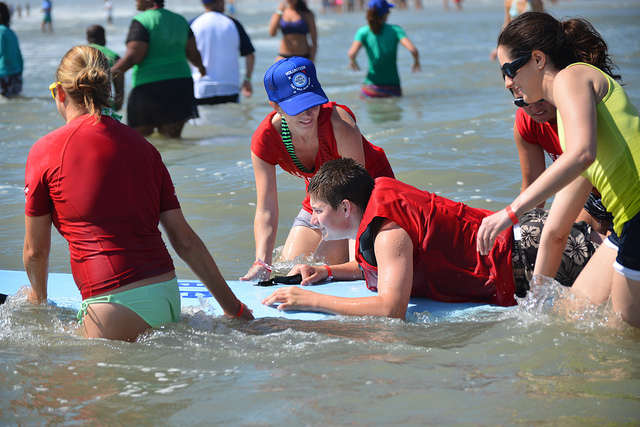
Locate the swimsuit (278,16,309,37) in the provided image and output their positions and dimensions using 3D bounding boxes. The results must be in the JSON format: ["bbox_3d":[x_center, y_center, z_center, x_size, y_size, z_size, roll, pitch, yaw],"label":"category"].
[{"bbox_3d":[-0.431,-2.882,11.789,0.518,0.374,0.261,-2,1,1],"label":"swimsuit"}]

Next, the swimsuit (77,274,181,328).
[{"bbox_3d":[-1.194,0.580,5.004,0.414,0.211,0.430,0,5,7],"label":"swimsuit"}]

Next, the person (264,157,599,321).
[{"bbox_3d":[1.024,0.167,5.696,2.585,1.030,1.335,-2,2,10],"label":"person"}]

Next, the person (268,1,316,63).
[{"bbox_3d":[-0.431,-2.843,11.823,0.693,0.898,0.518,-5,10,0],"label":"person"}]

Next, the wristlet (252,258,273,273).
[{"bbox_3d":[-0.444,0.420,6.163,0.102,0.046,0.132,5,-23,19],"label":"wristlet"}]

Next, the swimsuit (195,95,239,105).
[{"bbox_3d":[-1.382,-1.531,10.271,0.278,0.098,0.709,3,12,40],"label":"swimsuit"}]

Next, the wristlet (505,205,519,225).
[{"bbox_3d":[1.222,0.013,4.875,0.041,0.101,0.088,-29,19,-9],"label":"wristlet"}]

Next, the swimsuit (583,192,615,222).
[{"bbox_3d":[2.067,-0.051,5.597,0.123,0.139,0.183,-30,-19,-29],"label":"swimsuit"}]

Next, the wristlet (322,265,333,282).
[{"bbox_3d":[0.070,0.485,6.066,0.067,0.105,0.111,-11,-30,6],"label":"wristlet"}]

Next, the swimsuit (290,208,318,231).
[{"bbox_3d":[-0.155,0.053,6.777,0.177,0.158,0.379,-7,9,-14],"label":"swimsuit"}]

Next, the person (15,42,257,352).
[{"bbox_3d":[-1.353,-0.115,5.007,1.357,1.978,0.550,-7,10,-8],"label":"person"}]

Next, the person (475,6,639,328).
[{"bbox_3d":[1.649,-0.313,5.135,0.976,2.121,0.846,-3,10,11],"label":"person"}]

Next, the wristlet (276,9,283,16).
[{"bbox_3d":[-0.641,-3.140,11.832,0.100,0.090,0.086,-2,-7,6],"label":"wristlet"}]

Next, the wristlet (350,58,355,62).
[{"bbox_3d":[0.502,-2.392,11.869,0.101,0.020,0.097,0,-17,7],"label":"wristlet"}]
